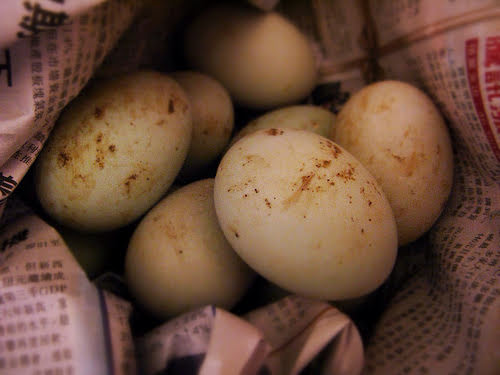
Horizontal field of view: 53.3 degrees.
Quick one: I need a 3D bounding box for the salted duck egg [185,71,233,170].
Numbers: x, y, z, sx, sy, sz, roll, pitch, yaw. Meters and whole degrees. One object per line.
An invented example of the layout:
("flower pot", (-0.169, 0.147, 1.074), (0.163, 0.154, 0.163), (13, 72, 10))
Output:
("salted duck egg", (-0.103, -0.141, 1.041), (0.140, 0.202, 0.150), (0, 21, -14))
